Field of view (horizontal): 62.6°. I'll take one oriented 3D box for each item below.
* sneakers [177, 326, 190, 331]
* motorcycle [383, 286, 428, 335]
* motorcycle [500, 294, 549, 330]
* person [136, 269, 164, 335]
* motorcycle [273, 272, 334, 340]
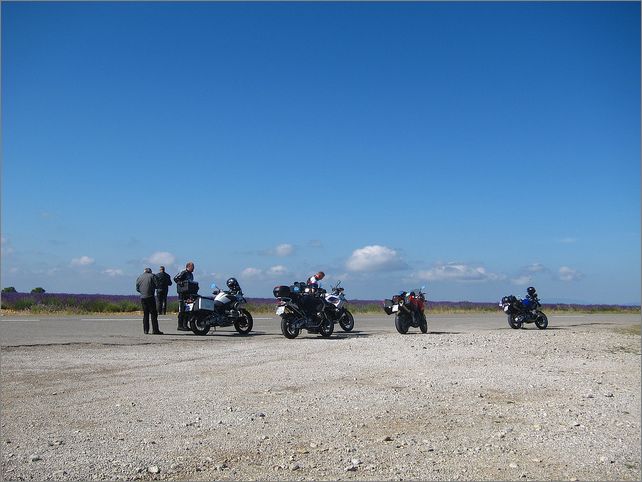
[{"bbox_3d":[-4.561,2.902,17.528,0.402,0.138,0.280,6,-49,-11],"label":"sneakers"},{"bbox_3d":[2.857,2.405,17.549,1.204,1.399,1.180,0,-1,22],"label":"motorcycle"},{"bbox_3d":[8.078,2.862,20.985,1.615,1.252,1.265,-1,-2,25],"label":"motorcycle"},{"bbox_3d":[-5.531,1.942,17.056,0.758,2.088,1.347,0,-1,-19],"label":"person"},{"bbox_3d":[-0.542,2.026,16.546,1.838,2.049,0.836,1,-1,-31],"label":"motorcycle"}]
